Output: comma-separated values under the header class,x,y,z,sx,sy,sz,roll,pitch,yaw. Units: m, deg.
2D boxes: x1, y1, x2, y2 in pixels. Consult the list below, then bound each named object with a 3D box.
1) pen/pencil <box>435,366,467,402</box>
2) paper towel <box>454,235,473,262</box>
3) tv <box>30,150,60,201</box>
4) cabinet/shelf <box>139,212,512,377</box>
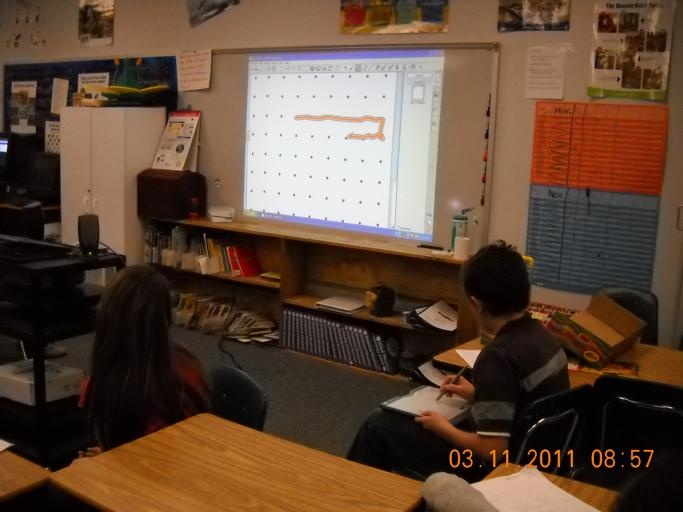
class,x,y,z,sx,sy,sz,roll,pitch,yaw
pen/pencil,0.457,0.539,2.138,0.020,0.189,0.020,36,-16,7
paper towel,0.856,-0.052,3.677,0.150,0.172,0.152,2,8,3
tv,-3.190,-0.837,5.513,0.457,0.514,0.227,12,17,34
cabinet/shelf,-0.443,0.325,4.744,0.414,0.761,3.046,6,5,-40
